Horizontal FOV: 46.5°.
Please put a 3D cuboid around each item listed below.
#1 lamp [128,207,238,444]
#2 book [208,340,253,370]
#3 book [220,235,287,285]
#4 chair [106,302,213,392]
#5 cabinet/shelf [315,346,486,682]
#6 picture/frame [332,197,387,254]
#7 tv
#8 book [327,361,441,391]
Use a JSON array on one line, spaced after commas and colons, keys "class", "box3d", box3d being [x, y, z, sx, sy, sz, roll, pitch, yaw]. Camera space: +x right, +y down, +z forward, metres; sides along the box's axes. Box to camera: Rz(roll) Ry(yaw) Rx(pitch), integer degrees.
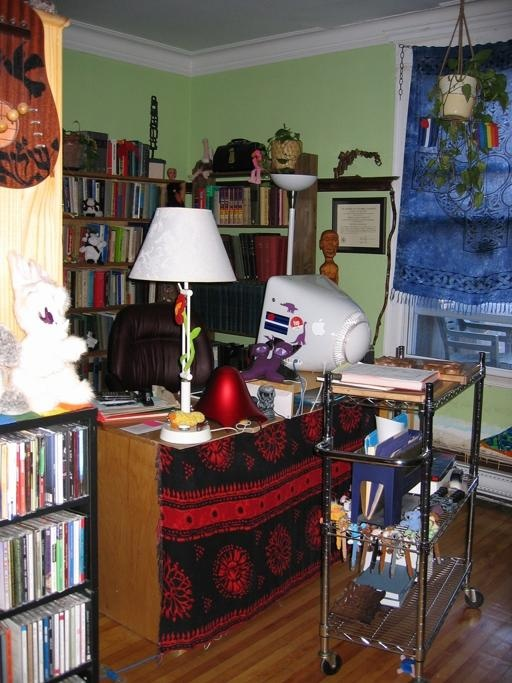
[{"class": "lamp", "box3d": [-0.218, -0.044, 1.778, 0.299, 0.691, 0.281, -1, 6, -30]}, {"class": "book", "box3d": [-0.167, 0.097, 4.230, 0.272, 0.251, 0.197, -5, 12, -36]}, {"class": "book", "box3d": [0.019, -0.572, 4.083, 0.336, 0.141, 0.436, -1, 28, -13]}, {"class": "chair", "box3d": [-0.544, 0.031, 3.003, 0.474, 0.587, 0.504, -3, 11, -20]}, {"class": "cabinet/shelf", "box3d": [0.472, 0.613, 2.021, 0.452, 1.052, 0.912, 4, 9, 25]}, {"class": "picture/frame", "box3d": [0.694, -0.755, 3.876, 0.458, 0.441, 0.044, 3, 5, 39]}, {"class": "tv", "box3d": [0.239, -0.112, 2.247, 0.382, 0.346, 0.317, 19, 25, 38]}, {"class": "book", "box3d": [0.406, 0.106, 1.841, 0.285, 0.043, 0.275, 5, 6, 25]}]
